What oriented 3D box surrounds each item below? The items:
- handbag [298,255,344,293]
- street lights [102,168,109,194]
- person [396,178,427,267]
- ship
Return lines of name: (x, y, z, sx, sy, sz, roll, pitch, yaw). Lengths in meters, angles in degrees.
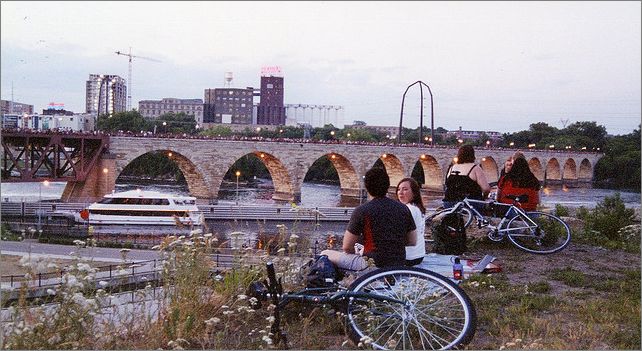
handbag: (-0.007, 4.016, 27.375, 1.669, 1.500, 1.140, -3, 2, -2)
street lights: (-18.442, 0.346, 56.774, 0.622, 2.469, 0.462, 1, 2, -12)
person: (3.920, 1.945, 28.565, 1.145, 3.807, 1.238, 0, 0, 15)
ship: (-13.772, 2.482, 50.655, 9.362, 2.417, 3.011, 1, 6, -12)
